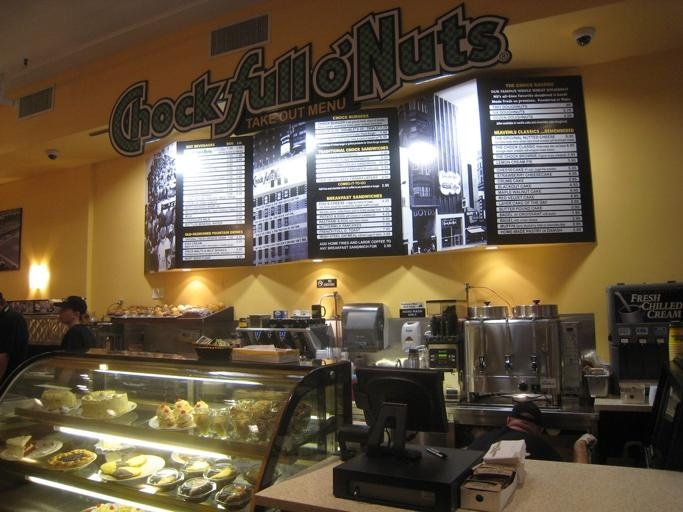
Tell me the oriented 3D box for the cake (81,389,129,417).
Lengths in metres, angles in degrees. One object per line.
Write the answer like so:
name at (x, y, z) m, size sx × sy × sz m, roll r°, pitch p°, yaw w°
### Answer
cake at (-1.559, 0.947, 3.589) m, size 0.209 × 0.073 × 0.207 m, roll -1°, pitch 5°, yaw -38°

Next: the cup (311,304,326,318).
cup at (-0.240, 0.610, 5.923) m, size 0.183 × 0.156 × 0.116 m, roll 1°, pitch 0°, yaw -17°

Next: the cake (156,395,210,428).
cake at (-1.005, 0.957, 3.398) m, size 0.240 × 0.077 × 0.235 m, roll 0°, pitch 1°, yaw -18°

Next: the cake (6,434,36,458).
cake at (-2.199, 1.296, 3.708) m, size 0.149 × 0.105 × 0.143 m, roll -18°, pitch -19°, yaw 23°

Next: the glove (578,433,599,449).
glove at (1.753, 1.316, 3.886) m, size 0.121 × 0.072 × 0.155 m, roll -1°, pitch -6°, yaw -24°

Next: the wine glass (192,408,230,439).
wine glass at (-0.797, 1.019, 3.320) m, size 0.172 × 0.162 × 0.221 m, roll 12°, pitch -16°, yaw -43°

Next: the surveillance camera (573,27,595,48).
surveillance camera at (2.139, -1.948, 4.753) m, size 0.176 × 0.124 × 0.116 m, roll -1°, pitch -1°, yaw 25°

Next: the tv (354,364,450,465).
tv at (0.294, 0.737, 2.802) m, size 0.483 × 0.325 × 0.079 m, roll -1°, pitch -1°, yaw 25°

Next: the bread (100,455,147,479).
bread at (-1.379, 1.345, 3.439) m, size 0.165 × 0.056 × 0.159 m, roll 0°, pitch 10°, yaw 23°

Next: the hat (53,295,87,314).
hat at (-2.557, 0.445, 5.161) m, size 0.280 × 0.162 × 0.182 m, roll 27°, pitch -6°, yaw -23°
